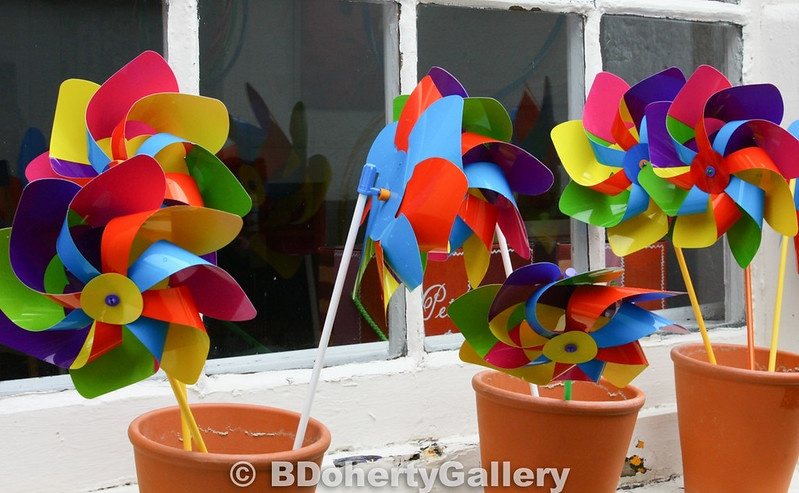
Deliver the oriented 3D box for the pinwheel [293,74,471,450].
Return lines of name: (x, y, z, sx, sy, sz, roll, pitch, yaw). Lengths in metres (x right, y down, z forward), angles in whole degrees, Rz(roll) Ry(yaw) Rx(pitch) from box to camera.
pinwheel: (-0.057, 0.032, 2.419, 0.375, 1.016, 0.654, 3, 8, 1)

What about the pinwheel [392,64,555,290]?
pinwheel: (0.205, -0.162, 2.351, 0.508, 0.513, 0.185, -2, -2, 37)

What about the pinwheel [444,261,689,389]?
pinwheel: (0.434, 0.228, 2.375, 0.608, 0.377, 0.144, 4, 9, 6)
